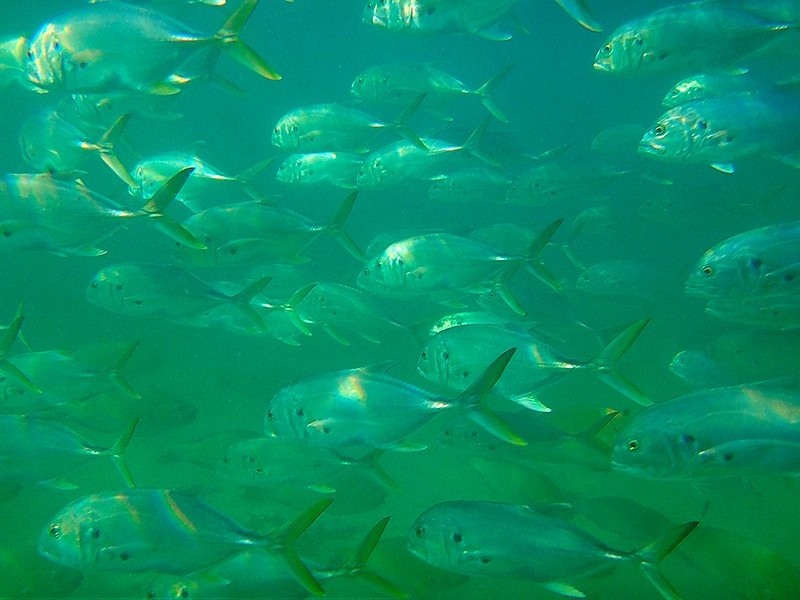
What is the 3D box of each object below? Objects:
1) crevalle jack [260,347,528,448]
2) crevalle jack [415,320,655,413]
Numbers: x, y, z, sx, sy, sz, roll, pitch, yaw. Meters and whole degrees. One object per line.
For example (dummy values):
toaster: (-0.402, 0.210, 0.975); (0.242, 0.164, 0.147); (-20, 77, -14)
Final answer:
crevalle jack: (-0.081, 0.779, 7.097); (2.099, 0.643, 0.437); (-7, -2, 29)
crevalle jack: (0.938, 0.501, 7.392); (2.034, 0.621, 0.386); (0, -3, 41)
